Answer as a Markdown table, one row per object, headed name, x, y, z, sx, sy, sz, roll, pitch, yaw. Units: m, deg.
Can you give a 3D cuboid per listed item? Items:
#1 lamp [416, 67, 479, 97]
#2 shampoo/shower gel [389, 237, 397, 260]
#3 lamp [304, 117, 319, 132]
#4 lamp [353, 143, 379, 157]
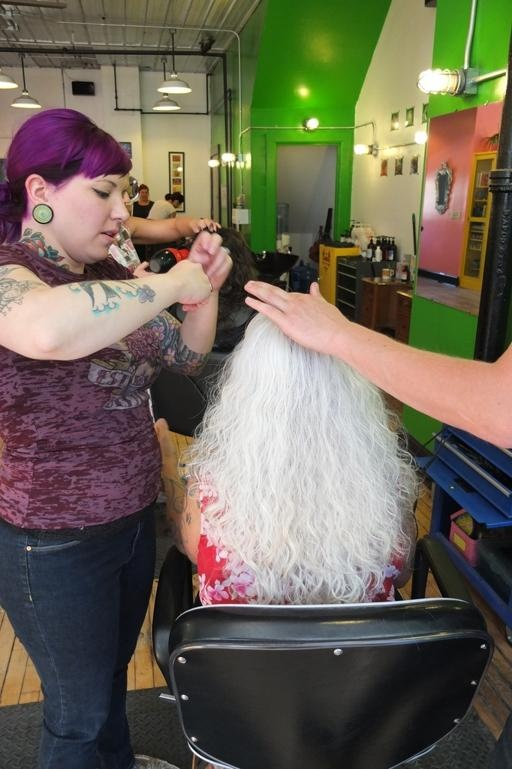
| name | x | y | z | sx | sy | sz | roll | pitch | yaw |
| --- | --- | --- | --- | --- | --- | --- | --- | --- | --- |
| lamp | 0.993 | -1.574 | 2.732 | 0.286 | 0.120 | 0.162 | 5 | 21 | 11 |
| shampoo/shower gel | 1.734 | -1.708 | 6.655 | 0.115 | 0.264 | 0.226 | 5 | 21 | 12 |
| lamp | 0.840 | -3.979 | 8.038 | 0.221 | 0.174 | 0.236 | 5 | 21 | 12 |
| lamp | 1.528 | -3.275 | 7.364 | 0.277 | 0.189 | 0.550 | 1 | 21 | 2 |
